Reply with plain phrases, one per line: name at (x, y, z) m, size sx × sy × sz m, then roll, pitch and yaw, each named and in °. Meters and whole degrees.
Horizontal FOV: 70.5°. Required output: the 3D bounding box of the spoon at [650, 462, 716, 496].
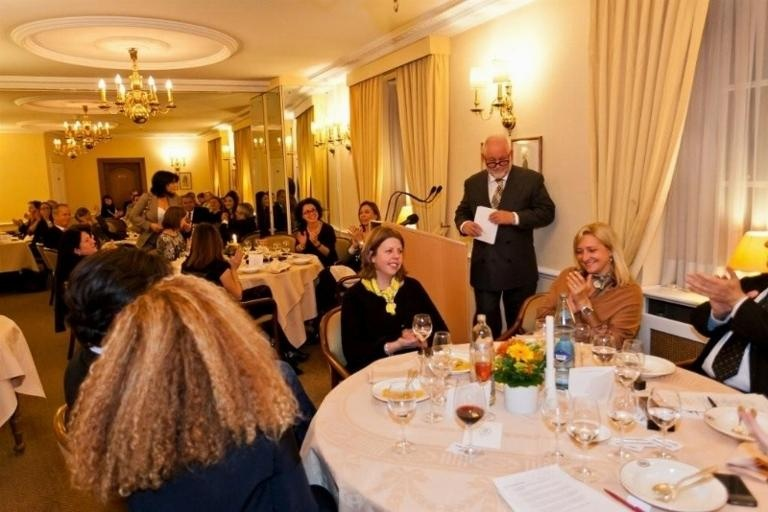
spoon at (1.181, 0.870, 2.131) m, size 0.265 × 0.104 × 0.080 m, roll -6°, pitch 12°, yaw -8°

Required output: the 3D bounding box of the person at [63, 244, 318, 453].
person at (-1.124, 0.291, 3.006) m, size 1.014 × 1.472 × 0.915 m, roll -4°, pitch 6°, yaw -30°

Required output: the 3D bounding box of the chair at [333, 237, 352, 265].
chair at (-0.505, -0.066, 6.522) m, size 0.250 × 0.355 × 0.272 m, roll 0°, pitch -5°, yaw 1°

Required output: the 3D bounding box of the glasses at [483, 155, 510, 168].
glasses at (0.985, -0.816, 4.747) m, size 0.212 × 0.094 × 0.124 m, roll -2°, pitch 12°, yaw 10°

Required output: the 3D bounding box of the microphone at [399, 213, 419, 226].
microphone at (0.309, -0.374, 5.551) m, size 0.106 × 0.121 × 0.420 m, roll 3°, pitch 4°, yaw 25°

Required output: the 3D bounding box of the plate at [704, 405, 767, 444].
plate at (1.539, 0.752, 2.425) m, size 0.191 × 0.034 × 0.200 m, roll -6°, pitch 8°, yaw -2°

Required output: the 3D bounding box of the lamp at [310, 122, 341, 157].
lamp at (-0.897, -1.900, 8.536) m, size 0.530 × 0.565 × 0.552 m, roll 0°, pitch 1°, yaw -3°

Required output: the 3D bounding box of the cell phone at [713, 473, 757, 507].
cell phone at (1.375, 0.920, 2.134) m, size 0.114 × 0.070 × 0.128 m, roll -4°, pitch 12°, yaw 1°

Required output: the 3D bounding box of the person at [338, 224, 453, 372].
person at (0.043, 0.312, 3.666) m, size 0.659 × 1.004 × 0.575 m, roll -3°, pitch 7°, yaw -27°

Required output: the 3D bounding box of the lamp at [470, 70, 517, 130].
lamp at (1.099, -1.513, 5.415) m, size 0.269 × 0.595 × 0.498 m, roll -7°, pitch 13°, yaw -14°

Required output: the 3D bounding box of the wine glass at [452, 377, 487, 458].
wine glass at (0.377, 0.696, 2.365) m, size 0.127 × 0.321 × 0.202 m, roll -1°, pitch 13°, yaw 12°
